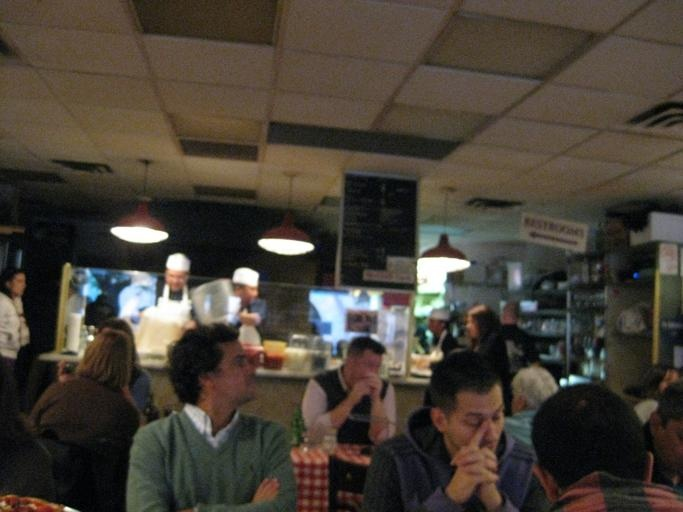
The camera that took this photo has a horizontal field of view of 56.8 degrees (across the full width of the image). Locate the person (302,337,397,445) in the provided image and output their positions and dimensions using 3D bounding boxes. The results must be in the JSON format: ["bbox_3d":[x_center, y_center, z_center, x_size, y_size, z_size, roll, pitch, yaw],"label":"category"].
[{"bbox_3d":[0.029,0.808,3.765,0.478,0.409,0.763,9,32,0],"label":"person"}]

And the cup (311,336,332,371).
[{"bbox_3d":[-0.161,0.677,4.284,0.151,0.237,0.146,4,1,0],"label":"cup"}]

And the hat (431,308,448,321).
[{"bbox_3d":[0.875,0.504,5.489,0.073,0.108,0.197,6,-5,-39],"label":"hat"}]

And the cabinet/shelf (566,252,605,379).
[{"bbox_3d":[1.368,0.325,3.543,0.232,0.710,0.234,3,-4,7],"label":"cabinet/shelf"}]

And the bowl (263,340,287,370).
[{"bbox_3d":[-0.441,0.660,4.212,0.170,0.143,0.165,2,-10,0],"label":"bowl"}]

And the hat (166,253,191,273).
[{"bbox_3d":[-1.169,0.049,4.527,0.160,0.136,0.171,2,-17,0],"label":"hat"}]

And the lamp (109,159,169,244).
[{"bbox_3d":[-1.680,-0.476,5.228,0.383,0.589,0.357,6,-34,-11],"label":"lamp"}]

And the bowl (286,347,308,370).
[{"bbox_3d":[-0.296,0.692,4.285,0.144,0.139,0.139,2,-5,0],"label":"bowl"}]

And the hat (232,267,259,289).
[{"bbox_3d":[-0.646,0.150,4.343,0.180,0.135,0.130,4,4,-6],"label":"hat"}]
